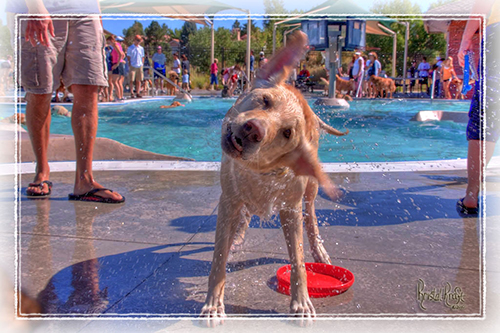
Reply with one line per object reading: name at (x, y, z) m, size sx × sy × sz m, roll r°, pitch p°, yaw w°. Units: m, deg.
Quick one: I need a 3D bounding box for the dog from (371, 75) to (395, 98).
dog at (5.794, -3.504, 17.337) m, size 1.367 × 0.910 × 0.558 m, roll -12°, pitch 17°, yaw -42°

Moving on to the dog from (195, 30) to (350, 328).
dog at (0.105, 0.033, 2.653) m, size 0.788 × 1.760 × 0.884 m, roll 1°, pitch 12°, yaw 6°

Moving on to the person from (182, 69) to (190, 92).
person at (-3.002, -3.989, 18.322) m, size 0.303 × 0.993 × 1.079 m, roll -3°, pitch 13°, yaw -9°
